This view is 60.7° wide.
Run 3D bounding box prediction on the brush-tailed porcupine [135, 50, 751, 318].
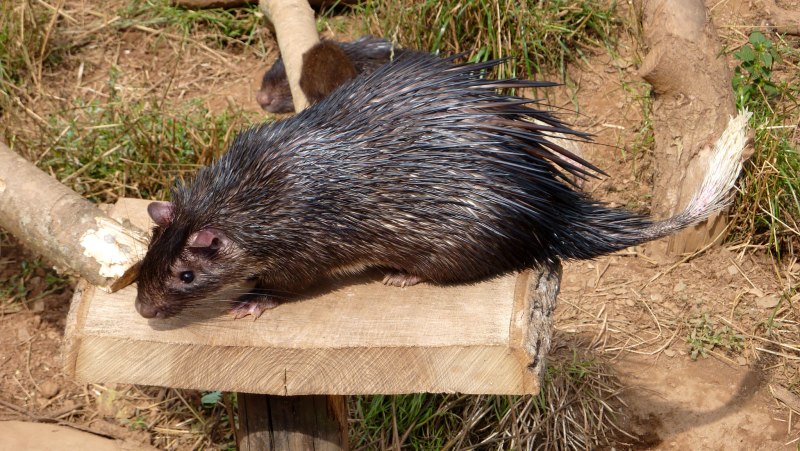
[{"bbox_3d":[0.468,-0.398,5.548,5.146,1.957,1.505,-8,31,-12],"label":"brush-tailed porcupine"}]
